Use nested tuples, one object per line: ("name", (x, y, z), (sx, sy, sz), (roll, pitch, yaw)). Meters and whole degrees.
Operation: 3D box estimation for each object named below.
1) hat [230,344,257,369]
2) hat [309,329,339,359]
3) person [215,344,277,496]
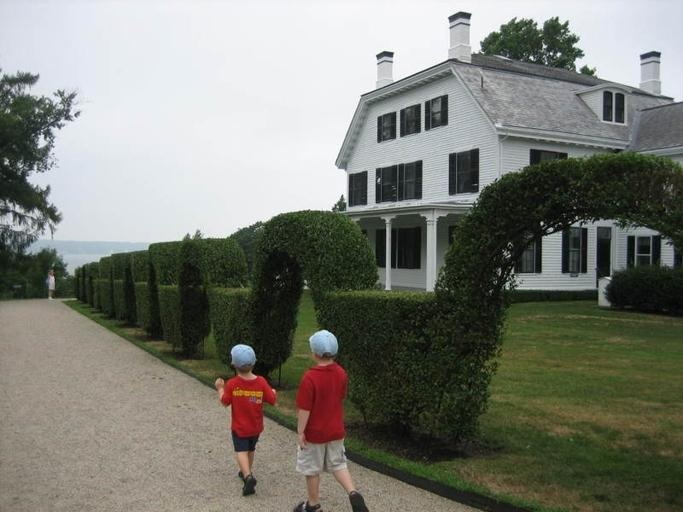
("hat", (-1.110, 1.132, 6.573), (0.239, 0.282, 0.246), (3, -2, -12))
("hat", (-0.200, 0.890, 6.190), (0.210, 0.170, 0.312), (6, 31, -6))
("person", (-1.058, 1.810, 6.549), (0.597, 1.632, 0.343), (3, -2, -13))
